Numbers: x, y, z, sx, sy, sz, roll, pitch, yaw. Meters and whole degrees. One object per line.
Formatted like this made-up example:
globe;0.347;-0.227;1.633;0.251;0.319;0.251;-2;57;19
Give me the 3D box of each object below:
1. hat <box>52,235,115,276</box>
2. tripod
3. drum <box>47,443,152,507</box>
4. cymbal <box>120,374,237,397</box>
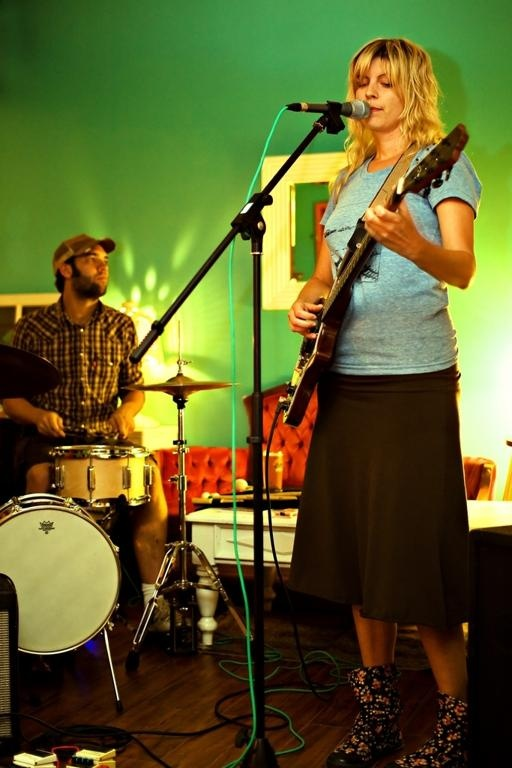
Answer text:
hat;-0.768;-0.587;2.937;0.270;0.095;0.175;-27;-1;27
tripod;-0.252;0.462;2.473;0.392;0.893;0.823;-1;-6;-3
drum;-0.497;0.284;2.254;0.247;0.143;0.245;1;1;0
cymbal;-0.281;0.004;2.361;0.310;0.085;0.361;0;-6;-11
